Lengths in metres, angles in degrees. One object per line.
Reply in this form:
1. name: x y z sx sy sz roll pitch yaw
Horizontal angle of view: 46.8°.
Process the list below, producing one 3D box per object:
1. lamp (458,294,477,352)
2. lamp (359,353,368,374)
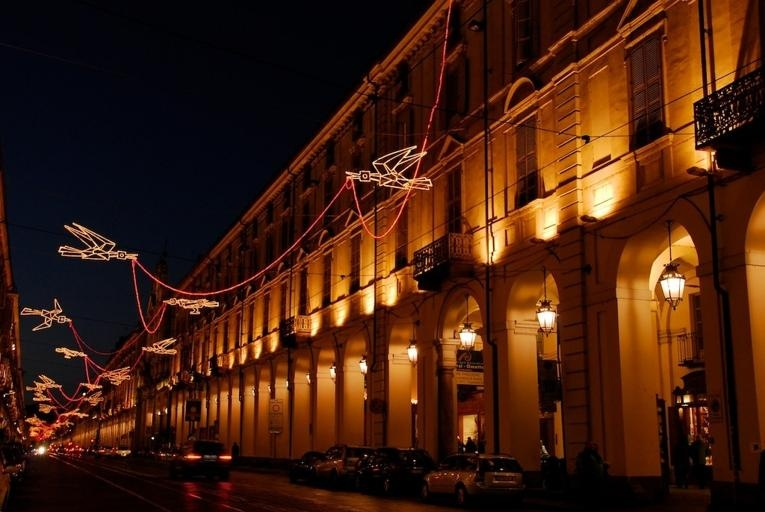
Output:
1. lamp: 3.159 2.530 32.896 0.657 2.148 0.668 -5 -9 29
2. lamp: -0.878 4.988 40.918 0.311 0.872 0.731 -1 -26 -1
